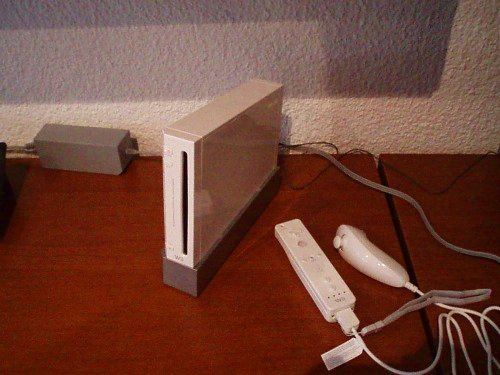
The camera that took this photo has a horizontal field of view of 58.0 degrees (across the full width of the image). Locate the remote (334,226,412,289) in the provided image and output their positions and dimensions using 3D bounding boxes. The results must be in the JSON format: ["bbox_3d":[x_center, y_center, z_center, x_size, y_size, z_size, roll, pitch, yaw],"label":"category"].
[{"bbox_3d":[0.210,0.126,0.790,0.074,0.054,0.132,-42,59,-14],"label":"remote"}]

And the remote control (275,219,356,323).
[{"bbox_3d":[0.109,0.137,0.795,0.056,0.028,0.207,-16,49,-19],"label":"remote control"}]
